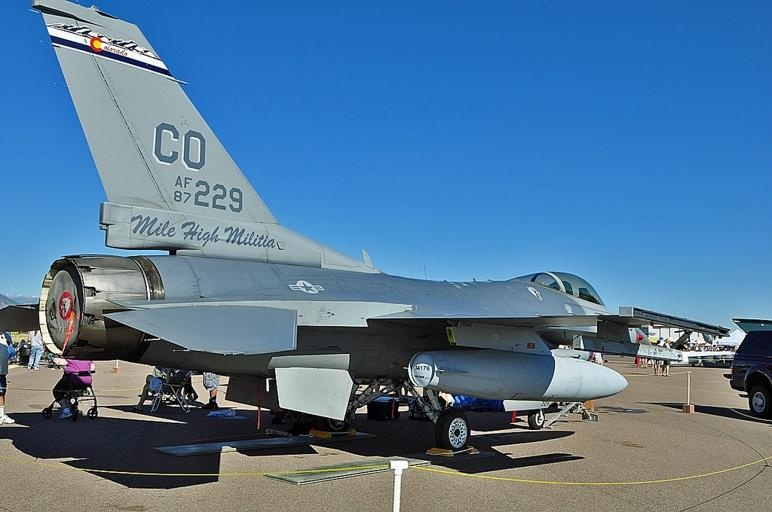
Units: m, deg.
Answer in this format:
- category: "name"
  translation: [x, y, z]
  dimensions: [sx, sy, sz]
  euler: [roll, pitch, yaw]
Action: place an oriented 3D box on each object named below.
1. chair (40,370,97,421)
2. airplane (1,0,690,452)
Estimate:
- category: "chair"
  translation: [-7.243, 3.038, 12.481]
  dimensions: [1.071, 0.620, 0.624]
  euler: [-6, 22, -27]
- category: "airplane"
  translation: [-0.602, -0.220, 9.887]
  dimensions: [10.484, 7.167, 4.890]
  euler: [7, -12, -34]
